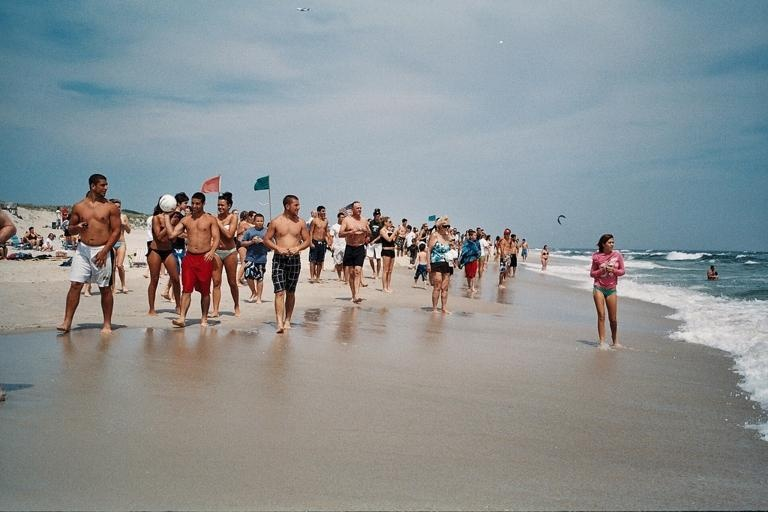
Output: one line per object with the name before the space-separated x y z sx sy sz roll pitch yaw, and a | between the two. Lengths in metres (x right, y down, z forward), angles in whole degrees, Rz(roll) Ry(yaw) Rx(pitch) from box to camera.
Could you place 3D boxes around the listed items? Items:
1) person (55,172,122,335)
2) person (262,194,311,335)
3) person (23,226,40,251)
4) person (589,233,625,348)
person | -4.889 -0.028 9.216 0.911 2.580 0.664 2 1 -36
person | -1.760 0.129 10.022 0.699 2.453 0.824 6 5 40
person | -19.192 -0.872 30.036 0.591 1.050 0.853 0 10 -19
person | 4.113 0.674 10.256 0.599 2.121 1.022 6 10 22
